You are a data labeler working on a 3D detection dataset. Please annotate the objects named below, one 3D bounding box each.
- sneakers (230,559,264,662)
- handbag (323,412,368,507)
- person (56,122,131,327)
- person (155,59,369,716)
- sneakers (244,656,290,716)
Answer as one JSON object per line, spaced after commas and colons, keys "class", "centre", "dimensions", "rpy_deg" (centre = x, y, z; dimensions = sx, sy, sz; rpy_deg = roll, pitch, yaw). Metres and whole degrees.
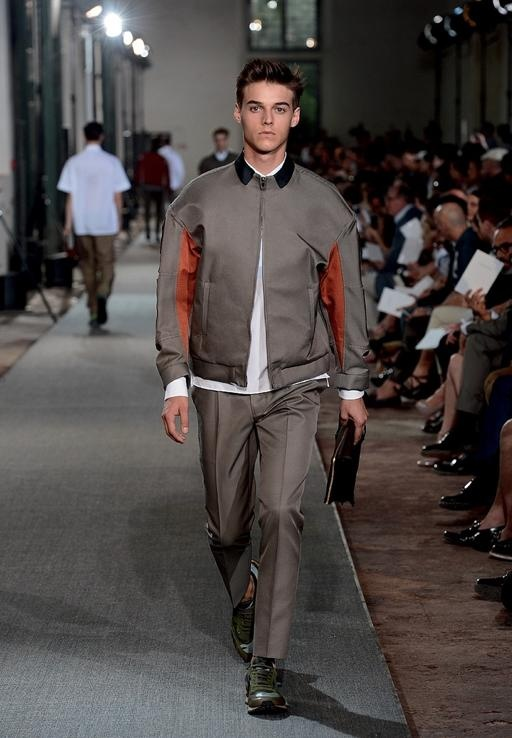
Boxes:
{"class": "sneakers", "centre": [-0.034, 0.545, 1.615], "dimensions": [0.074, 0.217, 0.101], "rpy_deg": [3, 12, -4]}
{"class": "handbag", "centre": [0.191, 0.186, 1.489], "dimensions": [0.063, 0.200, 0.060], "rpy_deg": [9, -5, -12]}
{"class": "person", "centre": [-1.667, -1.435, 7.201], "dimensions": [0.691, 2.043, 0.567], "rpy_deg": [4, 5, -2]}
{"class": "person", "centre": [-0.011, 0.048, 1.425], "dimensions": [0.388, 1.266, 0.293], "rpy_deg": [-1, 7, -45]}
{"class": "sneakers", "centre": [0.028, 0.617, 1.381], "dimensions": [0.055, 0.058, 0.124], "rpy_deg": [1, -3, -3]}
